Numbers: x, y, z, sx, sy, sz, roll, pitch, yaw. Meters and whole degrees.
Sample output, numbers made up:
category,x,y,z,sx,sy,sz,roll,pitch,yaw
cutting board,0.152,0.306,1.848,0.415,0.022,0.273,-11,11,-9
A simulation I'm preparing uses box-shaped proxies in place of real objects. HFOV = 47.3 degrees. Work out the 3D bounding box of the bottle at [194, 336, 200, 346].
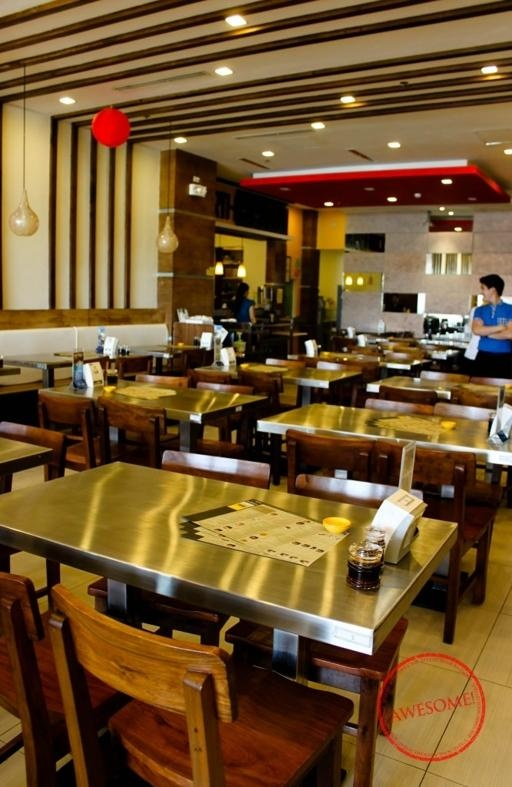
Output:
category,x,y,z,sx,sy,sz,roll,pitch,yaw
bottle,-0.799,-0.690,7.812,0.098,0.176,0.100,1,7,0

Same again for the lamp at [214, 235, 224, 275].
category,x,y,z,sx,sy,sz,roll,pitch,yaw
lamp,-0.719,-2.678,11.393,0.108,0.759,0.430,3,5,11

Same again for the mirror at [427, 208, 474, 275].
category,x,y,z,sx,sy,sz,roll,pitch,yaw
mirror,4.043,-2.886,12.150,0.828,1.110,0.134,4,-23,12

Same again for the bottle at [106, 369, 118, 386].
category,x,y,z,sx,sy,sz,roll,pitch,yaw
bottle,-0.950,-0.106,3.882,0.105,0.123,0.112,0,-1,2

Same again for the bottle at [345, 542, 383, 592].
category,x,y,z,sx,sy,sz,roll,pitch,yaw
bottle,0.201,0.318,1.093,0.069,0.079,0.079,1,6,2

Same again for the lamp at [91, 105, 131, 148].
category,x,y,z,sx,sy,sz,roll,pitch,yaw
lamp,-1.227,-2.255,4.926,0.242,0.295,0.309,-2,7,-39

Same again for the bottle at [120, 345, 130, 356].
category,x,y,z,sx,sy,sz,roll,pitch,yaw
bottle,-1.205,-0.390,5.431,0.080,0.088,0.239,-4,6,-23
